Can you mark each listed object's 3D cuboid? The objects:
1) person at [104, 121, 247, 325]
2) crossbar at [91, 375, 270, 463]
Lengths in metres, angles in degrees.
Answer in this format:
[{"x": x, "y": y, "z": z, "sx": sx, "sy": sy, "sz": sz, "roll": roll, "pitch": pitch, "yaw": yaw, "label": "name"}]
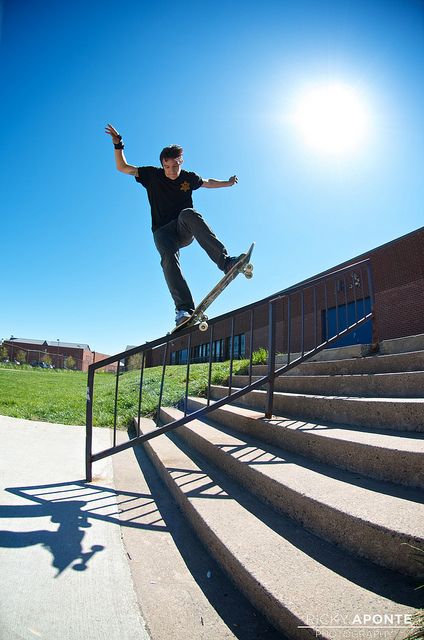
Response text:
[{"x": -0.212, "y": -0.920, "z": 3.866, "sx": 1.031, "sy": 2.032, "sz": 1.138, "roll": -13, "pitch": -13, "yaw": 16, "label": "person"}, {"x": -0.227, "y": 0.812, "z": 3.138, "sx": 1.533, "sy": 0.245, "sz": 0.450, "roll": -18, "pitch": 1, "yaw": -8, "label": "crossbar"}]
